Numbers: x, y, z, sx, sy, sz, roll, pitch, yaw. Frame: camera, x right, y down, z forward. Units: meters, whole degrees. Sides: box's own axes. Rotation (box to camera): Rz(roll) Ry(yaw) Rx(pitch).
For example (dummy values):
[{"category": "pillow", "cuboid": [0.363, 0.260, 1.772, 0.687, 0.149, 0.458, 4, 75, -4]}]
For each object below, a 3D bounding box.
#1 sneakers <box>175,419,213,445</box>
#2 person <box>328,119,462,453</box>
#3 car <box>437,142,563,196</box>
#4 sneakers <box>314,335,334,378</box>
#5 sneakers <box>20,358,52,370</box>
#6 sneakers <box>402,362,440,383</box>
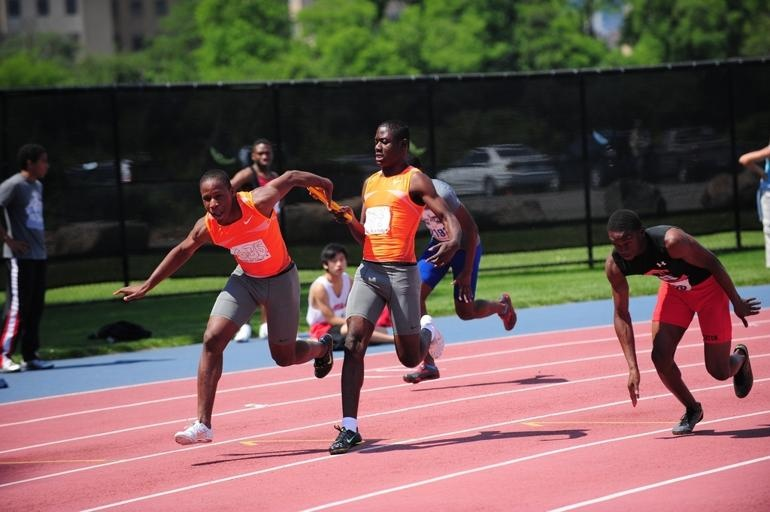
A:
[{"category": "sneakers", "cuboid": [-2.101, 1.985, 11.063, 0.500, 0.229, 0.189, 3, -10, -16]}, {"category": "person", "cuboid": [0.106, 0.296, 11.301, 1.488, 3.565, 0.979, -6, 12, -12]}, {"category": "car", "cuboid": [2.207, -1.640, 18.753, 2.178, 0.700, 0.949, 1, 8, 4]}, {"category": "sneakers", "cuboid": [-0.704, 1.238, 12.239, 0.202, 0.535, 0.221, 11, 14, 25]}, {"category": "sneakers", "cuboid": [-5.185, 1.596, 14.689, 0.428, 0.171, 0.151, -3, 6, -13]}, {"category": "sneakers", "cuboid": [0.481, 1.476, 12.781, 0.561, 0.240, 0.199, -13, 18, -14]}]
